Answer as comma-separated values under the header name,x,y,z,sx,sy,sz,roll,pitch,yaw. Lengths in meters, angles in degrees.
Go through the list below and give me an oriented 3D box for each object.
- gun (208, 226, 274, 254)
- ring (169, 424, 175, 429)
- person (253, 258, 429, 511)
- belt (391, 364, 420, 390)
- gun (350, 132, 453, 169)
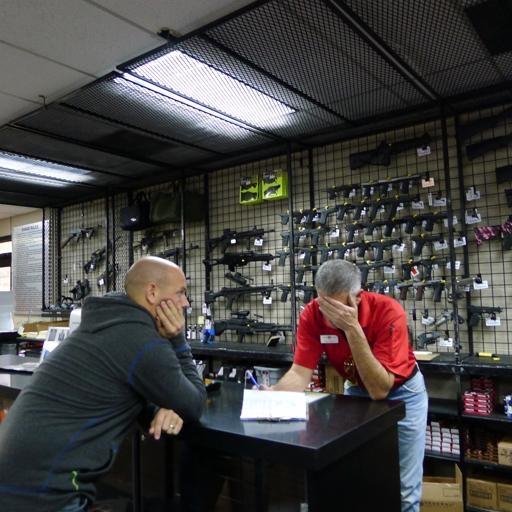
name,x,y,z,sx,sy,sz,roll,pitch,yaw
gun,-0.209,-0.192,5.238,0.270,0.269,0.930,-2,0,-44
ring,-0.299,0.609,1.653,0.014,0.013,0.014,12,-4,1
person,0.474,0.639,2.307,0.677,1.258,0.530,-2,0,20
belt,0.746,0.605,2.300,0.137,0.037,0.103,-35,-19,19
gun,1.195,-0.947,4.247,0.816,0.314,0.201,-3,0,44
